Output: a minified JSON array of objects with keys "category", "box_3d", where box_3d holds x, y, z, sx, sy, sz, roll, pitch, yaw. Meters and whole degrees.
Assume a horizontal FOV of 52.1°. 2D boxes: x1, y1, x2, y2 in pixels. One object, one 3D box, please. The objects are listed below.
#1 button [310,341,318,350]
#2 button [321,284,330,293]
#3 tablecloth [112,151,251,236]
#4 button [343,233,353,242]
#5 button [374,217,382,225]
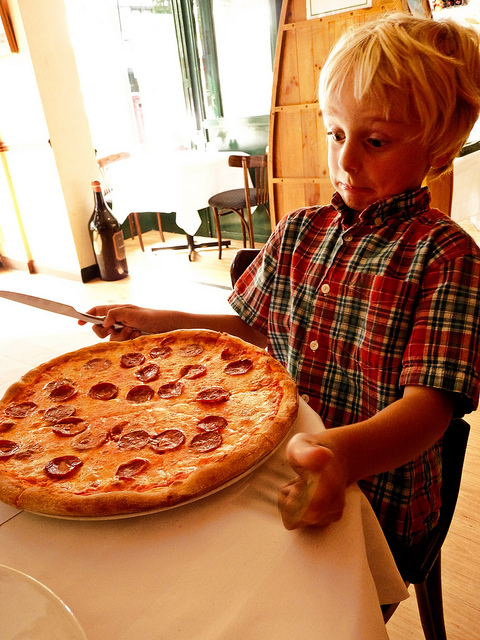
[{"category":"button","box_3d":[0.125,0.043,0.837,0.013,0.012,0.003,12,7,42]},{"category":"button","box_3d":[0.143,-0.056,0.828,0.013,0.013,0.004,19,9,40]},{"category":"tablecloth","box_3d":[-0.565,-1.015,4.226,1.141,0.537,1.107,-13,10,0]},{"category":"button","box_3d":[0.182,-0.141,0.830,0.009,0.013,0.018,-25,27,-33]},{"category":"button","box_3d":[0.220,-0.159,0.783,0.003,0.011,0.014,-25,27,-31]}]
